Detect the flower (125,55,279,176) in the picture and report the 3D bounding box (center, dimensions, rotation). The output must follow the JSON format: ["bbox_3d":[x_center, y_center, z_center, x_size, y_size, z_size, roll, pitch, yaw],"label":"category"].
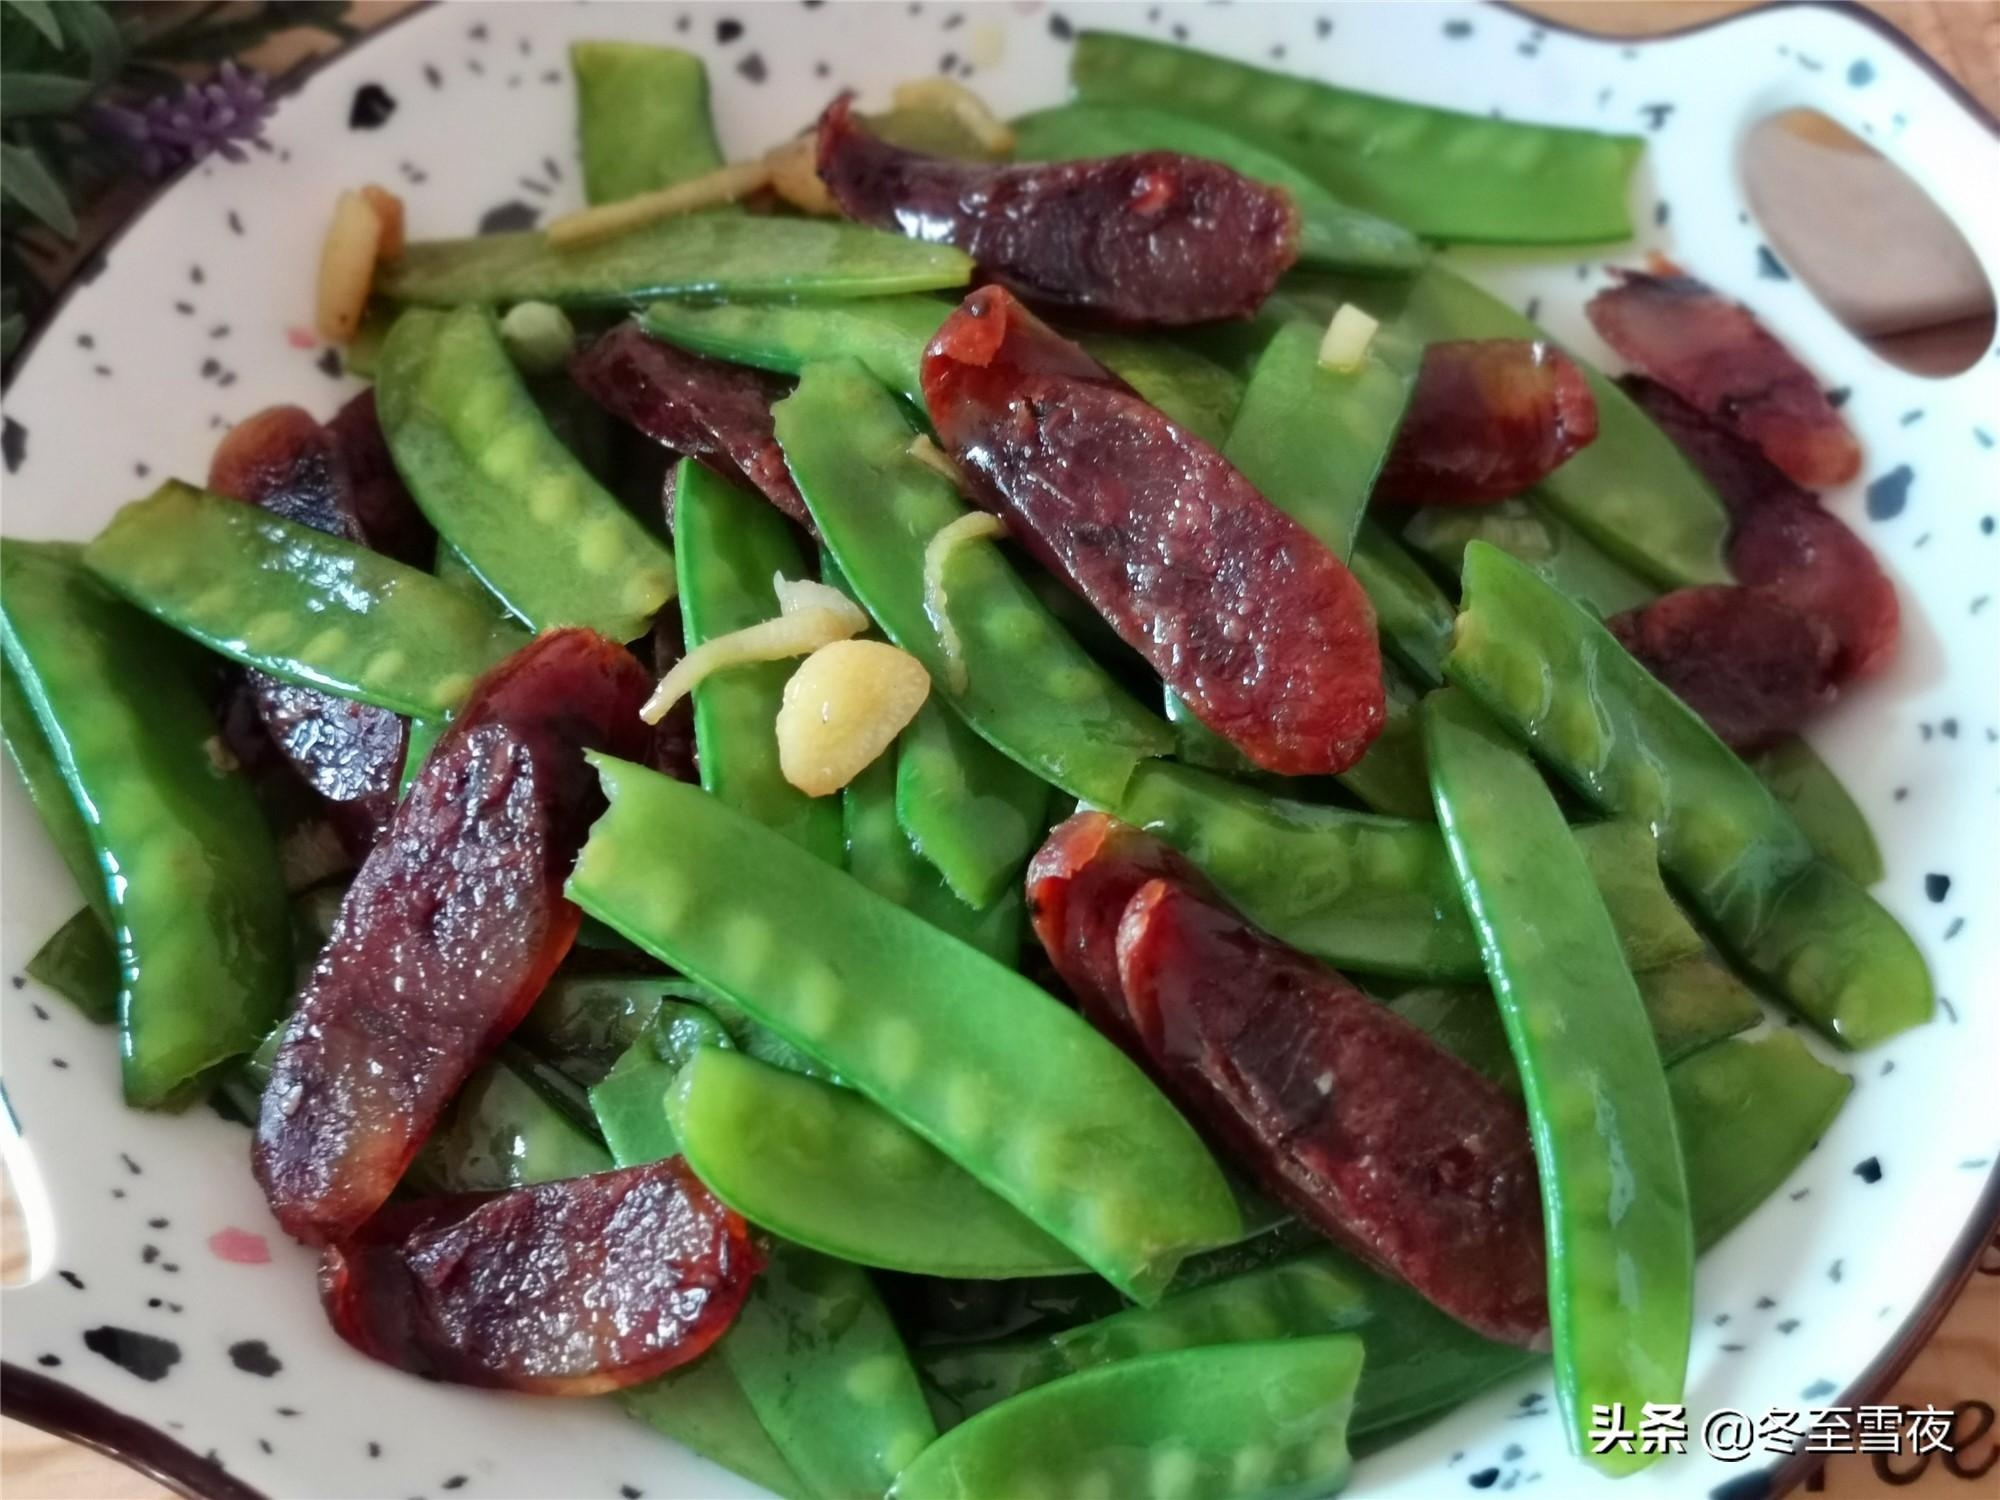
[{"bbox_3d":[-0.848,-0.662,2.217,0.156,0.093,0.083,-23,31,33],"label":"flower"}]
